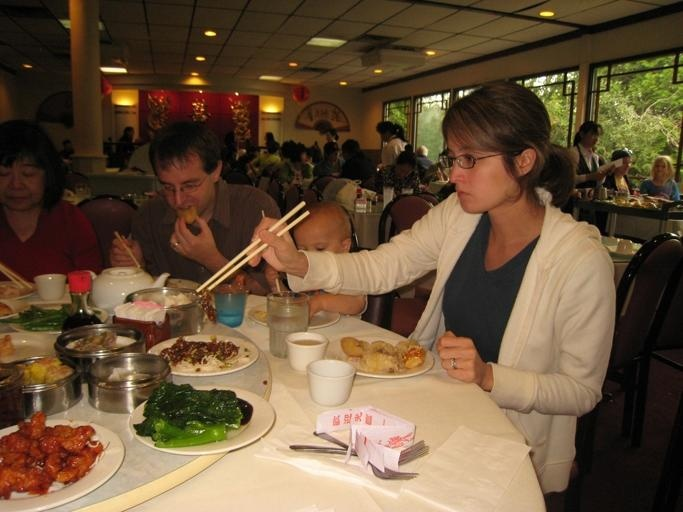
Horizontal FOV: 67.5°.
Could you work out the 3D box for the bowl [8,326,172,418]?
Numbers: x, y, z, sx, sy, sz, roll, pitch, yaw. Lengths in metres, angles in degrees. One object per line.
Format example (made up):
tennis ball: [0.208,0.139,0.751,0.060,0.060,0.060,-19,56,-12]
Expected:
bowl: [-0.618,0.253,1.275,0.239,0.085,0.256,4,9,-1]

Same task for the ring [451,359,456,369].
ring: [0.321,0.306,1.460,0.007,0.023,0.018,-7,16,0]

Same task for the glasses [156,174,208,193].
glasses: [-0.775,-0.319,2.316,0.320,0.081,0.159,11,15,40]

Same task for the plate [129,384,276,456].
plate: [-0.305,0.370,1.140,0.295,0.058,0.218,-6,13,-32]

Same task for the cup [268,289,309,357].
cup: [-0.160,0.231,1.606,0.130,0.148,0.131,7,-8,1]

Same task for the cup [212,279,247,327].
cup: [-0.392,0.180,1.778,0.114,0.113,0.112,2,3,0]

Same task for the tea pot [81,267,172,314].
tea pot: [-0.714,0.097,1.649,0.204,0.119,0.153,3,12,-14]

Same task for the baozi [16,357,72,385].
baozi: [-0.704,0.270,1.211,0.070,0.027,0.076,6,1,-4]

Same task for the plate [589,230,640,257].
plate: [1.896,-0.091,3.477,0.365,0.100,0.352,0,19,7]

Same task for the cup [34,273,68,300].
cup: [-1.085,0.111,1.910,0.103,0.074,0.101,1,0,0]

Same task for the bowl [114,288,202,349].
bowl: [-0.528,0.178,1.560,0.187,0.070,0.182,1,8,0]
